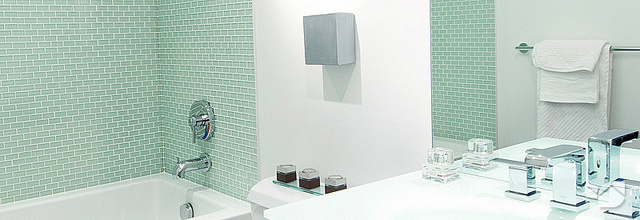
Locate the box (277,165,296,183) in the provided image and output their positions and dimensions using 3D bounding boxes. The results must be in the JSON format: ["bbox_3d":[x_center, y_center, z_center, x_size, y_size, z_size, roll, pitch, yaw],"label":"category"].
[{"bbox_3d":[-0.333,0.619,3.529,0.236,0.136,0.208,-4,4,-35],"label":"box"}]

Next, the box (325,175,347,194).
[{"bbox_3d":[0.145,0.694,3.396,0.234,0.136,0.210,-1,-1,34],"label":"box"}]

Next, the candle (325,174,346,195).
[{"bbox_3d":[0.135,0.694,3.381,0.229,0.135,0.212,-1,0,37],"label":"candle"}]

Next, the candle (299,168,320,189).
[{"bbox_3d":[-0.106,0.654,3.462,0.239,0.150,0.235,1,2,44],"label":"candle"}]

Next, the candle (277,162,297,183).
[{"bbox_3d":[-0.331,0.621,3.625,0.246,0.140,0.212,0,2,28],"label":"candle"}]

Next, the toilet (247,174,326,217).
[{"bbox_3d":[-0.311,0.791,3.560,0.761,0.246,0.572,2,4,44],"label":"toilet"}]

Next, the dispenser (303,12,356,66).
[{"bbox_3d":[0.086,-0.686,3.688,0.763,0.513,0.460,2,5,44],"label":"dispenser"}]
